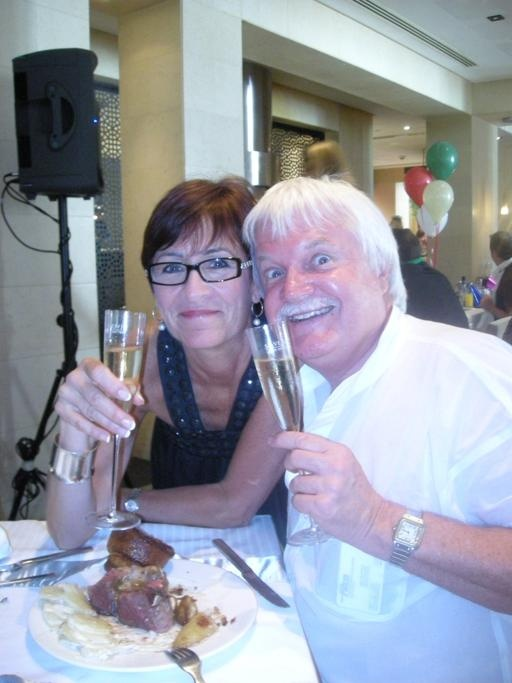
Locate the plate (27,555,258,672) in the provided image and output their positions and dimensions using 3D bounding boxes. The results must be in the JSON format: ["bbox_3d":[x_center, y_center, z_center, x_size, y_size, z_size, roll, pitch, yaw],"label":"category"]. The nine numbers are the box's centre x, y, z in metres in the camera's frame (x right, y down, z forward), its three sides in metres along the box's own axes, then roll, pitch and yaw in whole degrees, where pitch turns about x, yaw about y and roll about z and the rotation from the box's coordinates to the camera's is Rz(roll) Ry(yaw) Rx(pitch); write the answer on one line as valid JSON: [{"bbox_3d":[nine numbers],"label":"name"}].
[{"bbox_3d":[-0.156,0.373,0.738,0.298,0.040,0.334,3,-4,-21],"label":"plate"}]

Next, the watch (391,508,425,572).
[{"bbox_3d":[0.213,0.272,0.751,0.036,0.074,0.070,15,-30,23],"label":"watch"}]

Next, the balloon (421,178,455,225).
[{"bbox_3d":[2.165,-1.653,6.286,0.340,0.610,0.356,12,-14,-17],"label":"balloon"}]

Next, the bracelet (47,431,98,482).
[{"bbox_3d":[-0.393,0.262,1.117,0.098,0.115,0.099,13,-24,-8],"label":"bracelet"}]

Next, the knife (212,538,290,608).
[{"bbox_3d":[-0.014,0.362,0.892,0.038,0.027,0.277,10,-2,-14],"label":"knife"}]

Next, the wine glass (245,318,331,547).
[{"bbox_3d":[0.072,0.173,0.961,0.119,0.396,0.346,0,-3,14],"label":"wine glass"}]
